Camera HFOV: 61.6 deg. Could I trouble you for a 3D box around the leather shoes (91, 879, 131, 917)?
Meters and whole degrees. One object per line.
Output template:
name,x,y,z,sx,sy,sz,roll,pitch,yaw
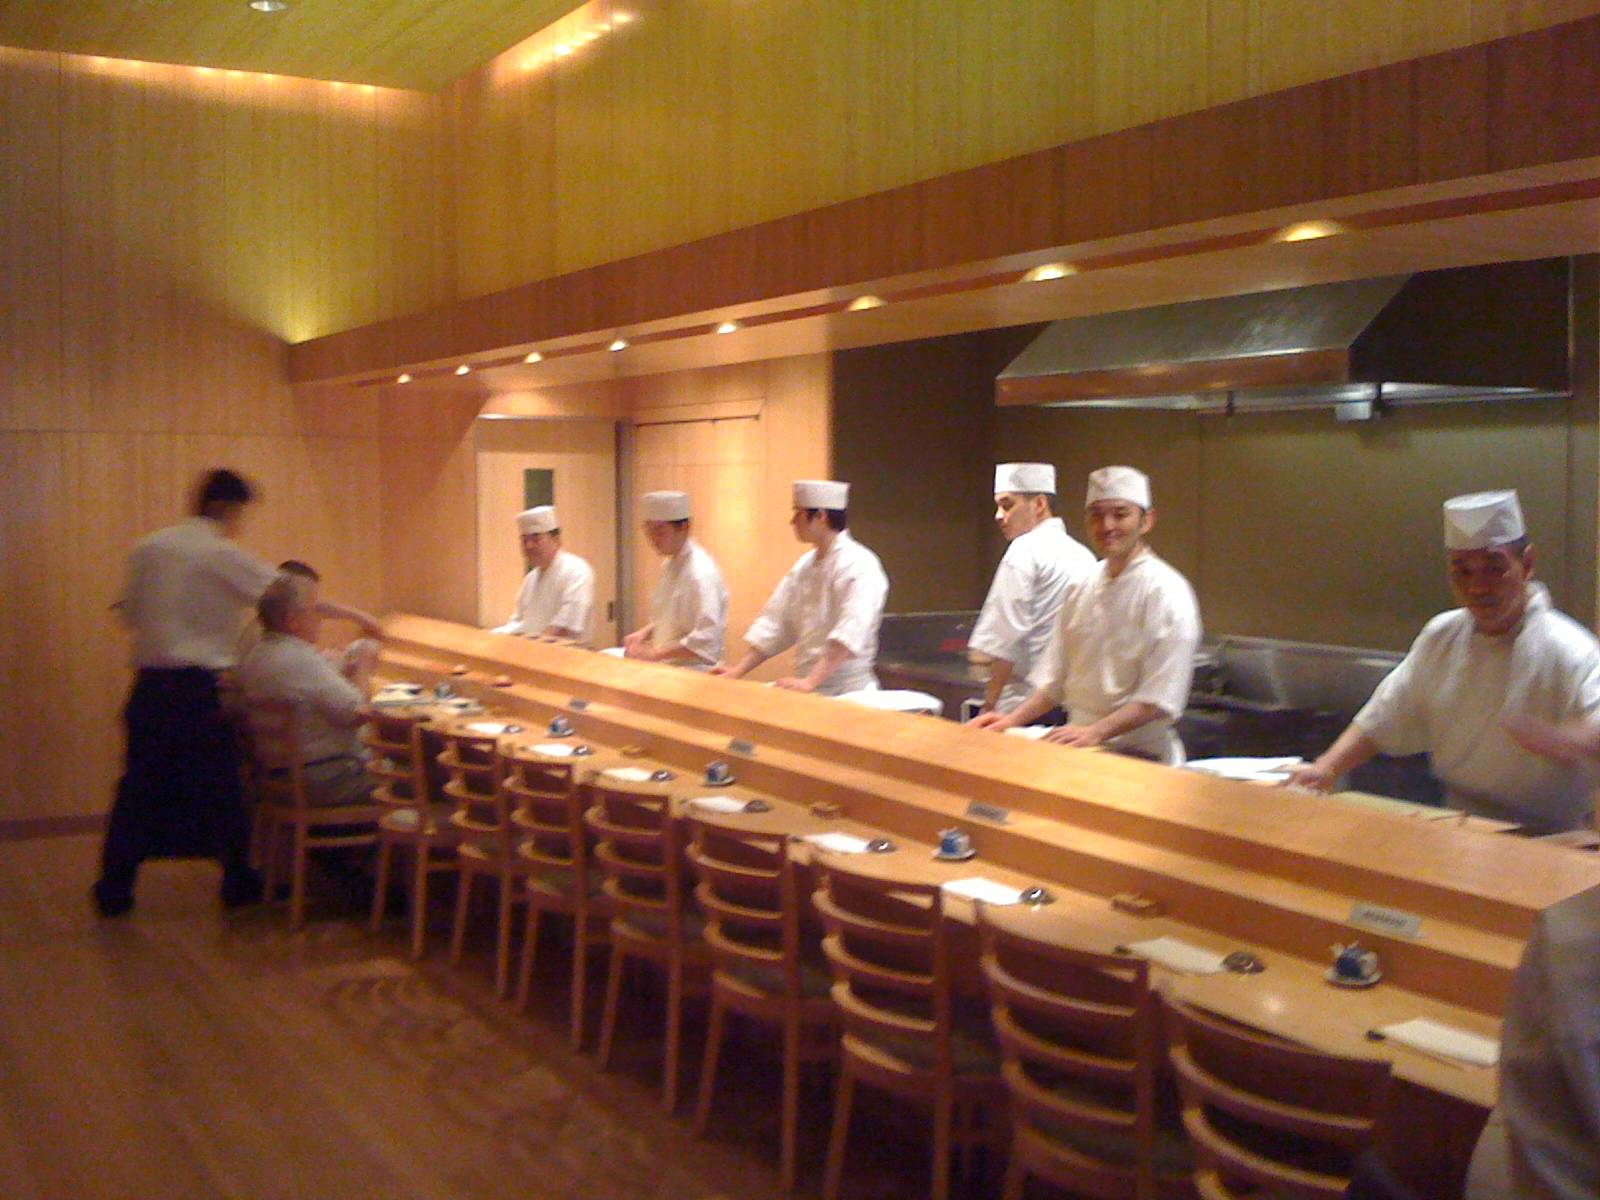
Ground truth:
leather shoes,-2.694,1.166,5.273,0.135,0.134,0.132,7,0,-35

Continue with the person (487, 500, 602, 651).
person,-1.265,-0.126,6.781,0.606,0.839,0.627,5,-4,-43

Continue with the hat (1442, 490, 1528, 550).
hat,1.684,-0.195,3.300,0.173,0.108,0.183,-6,4,40

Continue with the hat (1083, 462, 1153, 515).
hat,0.992,-0.342,4.205,0.251,0.173,0.253,1,4,2

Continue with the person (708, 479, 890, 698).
person,0.135,0.000,5.823,0.787,1.126,0.897,2,0,-24

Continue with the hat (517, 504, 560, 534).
hat,-1.272,-0.381,6.532,0.188,0.138,0.189,-1,5,-1

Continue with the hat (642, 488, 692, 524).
hat,-0.599,-0.410,6.014,0.183,0.120,0.184,1,5,2

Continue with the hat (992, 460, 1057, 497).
hat,0.940,-0.482,5.578,0.215,0.120,0.217,0,2,7

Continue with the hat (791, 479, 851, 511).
hat,0.092,-0.423,5.422,0.198,0.103,0.158,-1,7,-9
